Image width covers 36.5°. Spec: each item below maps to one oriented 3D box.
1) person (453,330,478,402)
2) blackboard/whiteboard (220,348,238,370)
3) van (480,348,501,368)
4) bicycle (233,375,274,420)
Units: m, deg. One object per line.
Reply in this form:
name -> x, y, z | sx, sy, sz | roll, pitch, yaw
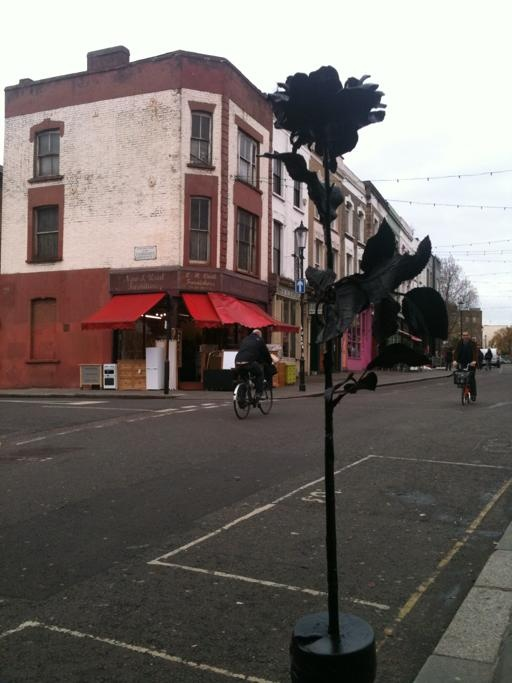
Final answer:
person -> 4.374, 0.472, 16.180 | 0.404, 1.667, 1.555 | 3, 17, 21
blackboard/whiteboard -> -0.740, 0.463, 21.695 | 0.463, 1.051, 0.515 | 0, 1, -6
van -> 18.301, 1.218, 60.687 | 1.684, 1.896, 3.349 | -1, 7, 14
bicycle -> -0.075, 0.999, 13.766 | 0.401, 0.642, 0.971 | -4, -5, 19
